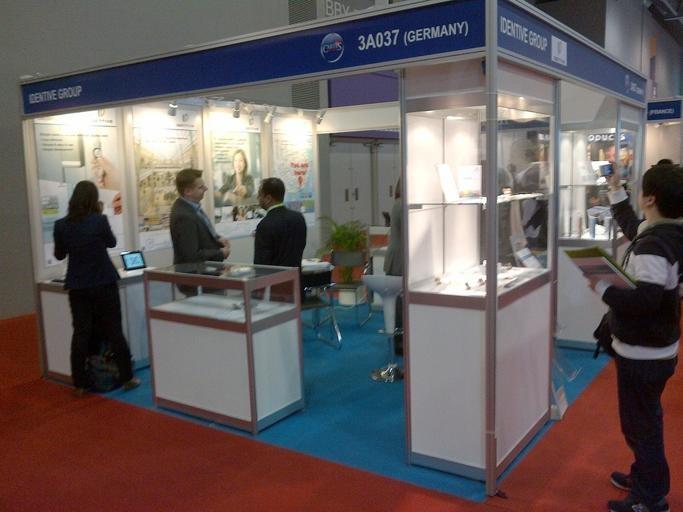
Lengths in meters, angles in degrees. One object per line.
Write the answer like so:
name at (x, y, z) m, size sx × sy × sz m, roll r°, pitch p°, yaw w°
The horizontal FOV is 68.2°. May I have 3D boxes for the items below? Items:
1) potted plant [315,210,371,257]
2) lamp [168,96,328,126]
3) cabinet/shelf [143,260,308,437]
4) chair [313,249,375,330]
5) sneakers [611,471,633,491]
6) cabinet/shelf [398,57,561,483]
potted plant at (0.034, -0.294, 7.564) m, size 0.768 × 0.900 × 0.857 m, roll -2°, pitch 7°, yaw -8°
lamp at (-1.401, -2.056, 7.216) m, size 0.068 × 0.261 × 1.806 m, roll -24°, pitch -5°, yaw 38°
cabinet/shelf at (-1.008, 0.814, 4.302) m, size 1.170 × 1.241 × 0.663 m, roll 5°, pitch 10°, yaw 36°
chair at (0.113, 0.439, 7.198) m, size 0.825 × 1.331 × 0.939 m, roll -1°, pitch -2°, yaw 16°
sneakers at (1.872, 1.500, 3.368) m, size 0.086 × 0.080 × 0.182 m, roll -5°, pitch 6°, yaw -10°
cabinet/shelf at (0.999, 0.072, 3.730) m, size 0.875 × 2.809 × 1.047 m, roll 4°, pitch 11°, yaw 32°
